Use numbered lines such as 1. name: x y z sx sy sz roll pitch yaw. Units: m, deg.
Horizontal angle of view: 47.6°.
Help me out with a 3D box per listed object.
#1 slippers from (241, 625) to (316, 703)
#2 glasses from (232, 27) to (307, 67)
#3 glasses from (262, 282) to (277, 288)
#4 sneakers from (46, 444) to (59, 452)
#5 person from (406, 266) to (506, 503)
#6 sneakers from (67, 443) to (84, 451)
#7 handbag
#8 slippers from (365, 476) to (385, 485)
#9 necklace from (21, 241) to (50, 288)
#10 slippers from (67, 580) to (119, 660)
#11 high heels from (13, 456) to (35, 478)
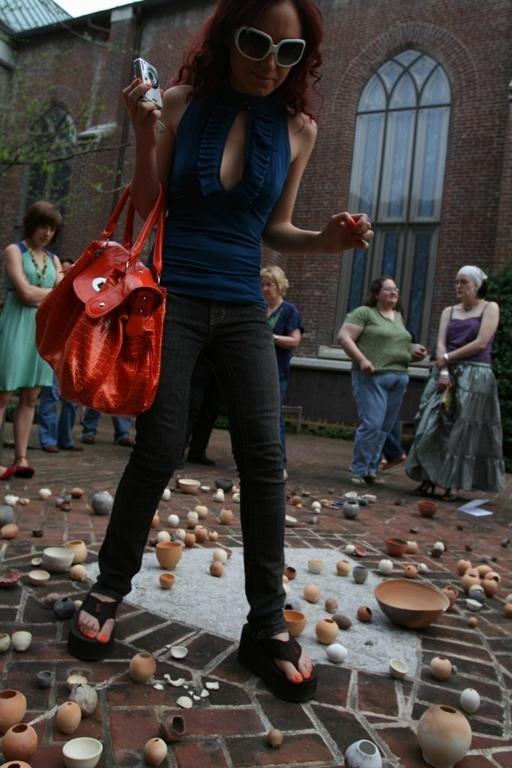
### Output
1. slippers: 0.047 0.779 1.656 0.097 0.103 0.258 -1 6 -37
2. glasses: 0.031 -0.933 1.615 0.193 0.107 0.060 9 2 -12
3. glasses: 0.102 -0.910 5.338 0.062 0.042 0.082 1 7 28
4. sneakers: -2.033 0.645 5.800 0.122 0.047 0.053 -10 -9 43
5. person: 2.016 -0.054 5.460 0.889 2.252 0.474 12 2 25
6. sneakers: -1.908 0.666 6.137 0.158 0.131 0.058 -1 10 -17
7. handbag: -0.424 -0.262 1.668 0.310 0.604 0.382 10 2 -34
8. slippers: 1.199 0.991 6.046 0.256 0.093 0.087 0 4 15
9. necklace: -1.772 -0.935 4.516 0.080 0.299 0.180 -27 1 13
10. slippers: -0.462 0.696 1.710 0.083 0.091 0.231 18 -1 -3
11. high heels: -1.677 0.608 4.229 0.171 0.139 0.149 9 2 -31
